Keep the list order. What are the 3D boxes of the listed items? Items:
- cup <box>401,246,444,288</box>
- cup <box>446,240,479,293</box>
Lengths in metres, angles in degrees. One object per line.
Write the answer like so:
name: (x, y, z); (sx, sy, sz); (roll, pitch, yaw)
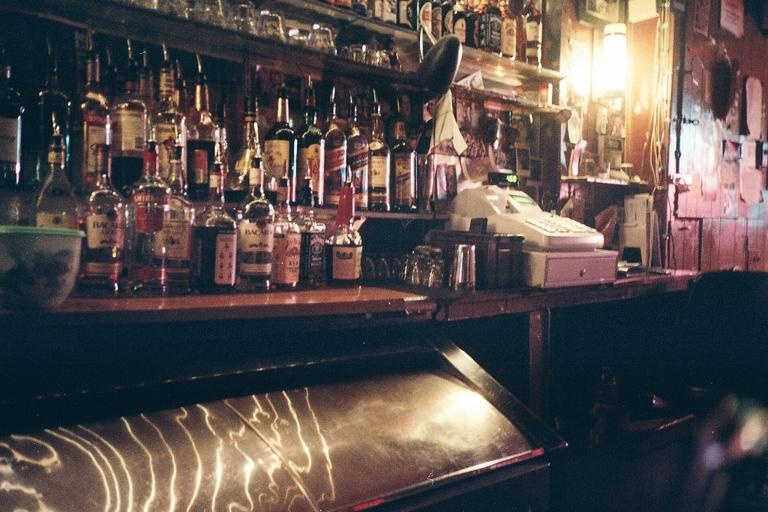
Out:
cup: (0.196, 0.046, 3.733); (0.192, 0.188, 0.317); (-1, 5, -11)
cup: (0.372, 0.056, 3.474); (0.174, 0.288, 0.172); (0, -8, 0)
